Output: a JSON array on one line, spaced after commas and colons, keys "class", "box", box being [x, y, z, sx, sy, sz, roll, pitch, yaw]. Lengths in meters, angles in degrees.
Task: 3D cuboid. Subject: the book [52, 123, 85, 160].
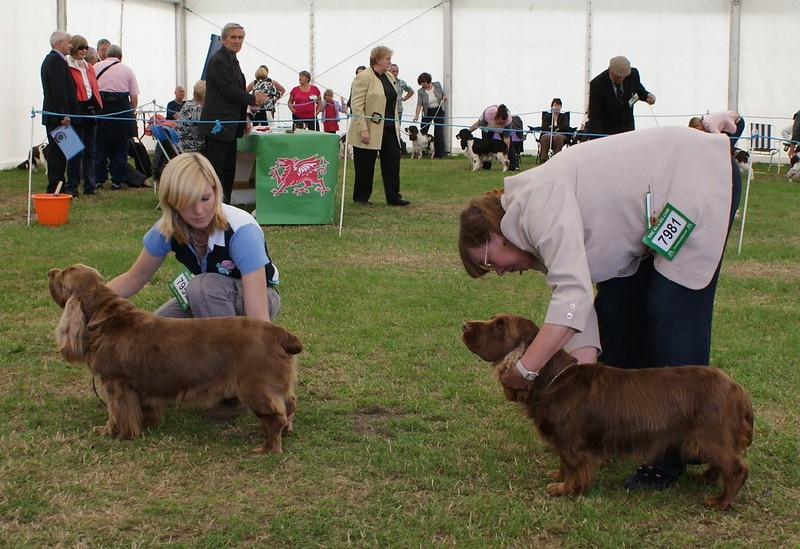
[{"class": "book", "box": [-3.950, -1.616, 10.169, 0.340, 0.460, 0.105, -34, -5, 0]}]

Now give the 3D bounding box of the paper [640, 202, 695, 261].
[{"class": "paper", "box": [1.572, -0.253, 4.980, 0.279, 0.319, 0.076, 34, 9, -10]}]

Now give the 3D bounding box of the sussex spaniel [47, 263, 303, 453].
[{"class": "sussex spaniel", "box": [-1.472, 0.581, 5.511, 1.656, 0.861, 0.817, -3, -12, 15]}]

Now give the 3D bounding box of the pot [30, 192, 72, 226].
[{"class": "pot", "box": [-3.989, -0.740, 9.770, 0.359, 0.267, 0.376, 0, 3, 0]}]
